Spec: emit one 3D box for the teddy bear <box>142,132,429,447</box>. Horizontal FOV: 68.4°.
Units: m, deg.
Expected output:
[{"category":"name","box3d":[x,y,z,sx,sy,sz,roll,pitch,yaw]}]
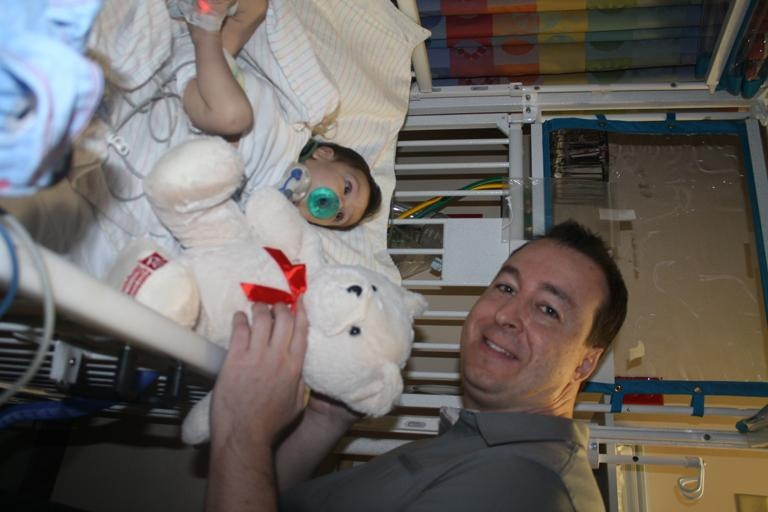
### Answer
[{"category":"teddy bear","box3d":[-0.307,0.110,1.433,0.781,0.309,0.750,25,44,-19]}]
